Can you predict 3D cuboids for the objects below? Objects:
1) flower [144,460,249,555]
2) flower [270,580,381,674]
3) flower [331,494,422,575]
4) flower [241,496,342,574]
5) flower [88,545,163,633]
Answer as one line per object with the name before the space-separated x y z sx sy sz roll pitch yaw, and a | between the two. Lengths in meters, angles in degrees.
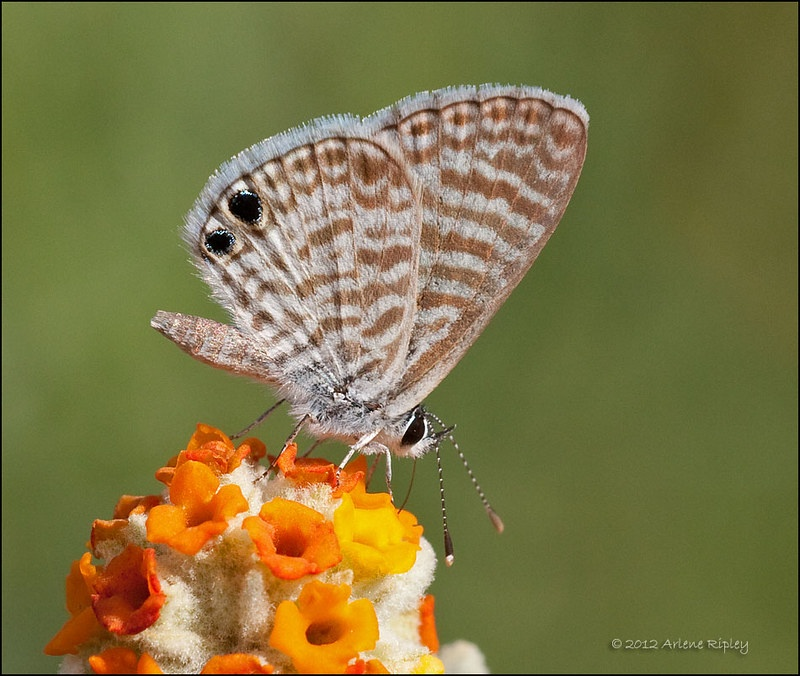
flower | -0.626 0.532 3.208 0.276 0.146 0.317 29 38 26
flower | -0.208 0.872 3.137 0.317 0.244 0.191 3 19 11
flower | -0.068 0.611 3.448 0.274 0.272 0.334 -1 19 1
flower | -0.330 0.593 3.199 0.258 0.146 0.256 -16 25 -35
flower | -0.817 0.734 3.165 0.192 0.206 0.270 -12 22 -28
